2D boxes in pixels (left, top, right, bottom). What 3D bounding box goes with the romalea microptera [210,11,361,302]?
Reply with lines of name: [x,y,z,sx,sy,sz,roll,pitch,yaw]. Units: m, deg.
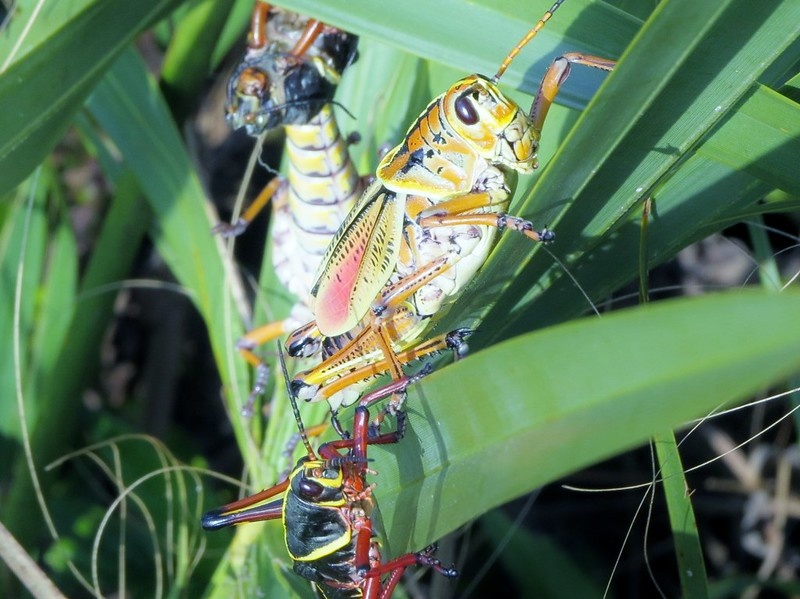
romalea microptera: [-0.117,-0.185,1.295,0.097,0.357,0.262,11,46,14]
